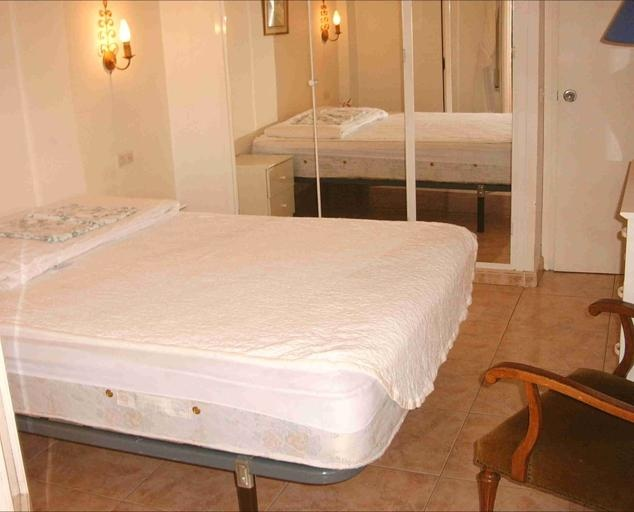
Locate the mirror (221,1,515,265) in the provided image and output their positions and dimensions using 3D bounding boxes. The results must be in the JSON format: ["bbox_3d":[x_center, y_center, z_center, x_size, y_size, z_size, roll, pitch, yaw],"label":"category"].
[{"bbox_3d":[0.438,-0.965,3.720,1.999,2.041,0.675,0,18,5],"label":"mirror"}]
